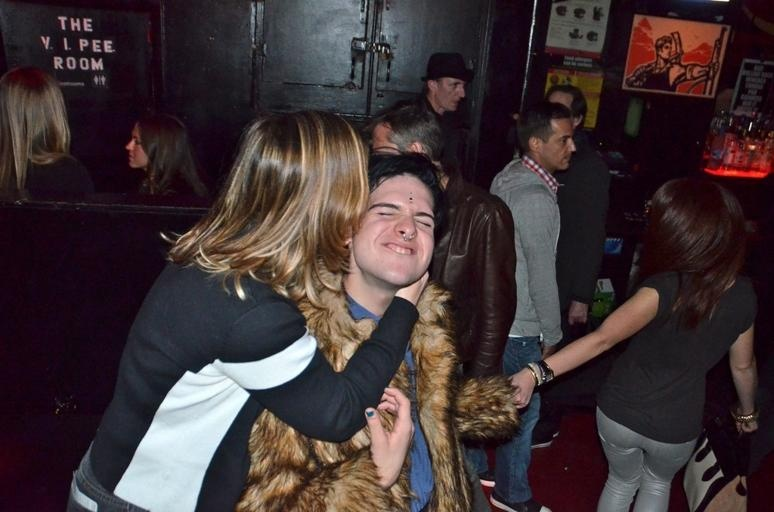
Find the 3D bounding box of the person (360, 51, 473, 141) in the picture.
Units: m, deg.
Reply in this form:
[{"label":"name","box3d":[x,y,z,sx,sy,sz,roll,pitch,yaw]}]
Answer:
[{"label":"person","box3d":[0.542,-1.675,5.783,0.549,0.770,0.443,29,28,25]}]

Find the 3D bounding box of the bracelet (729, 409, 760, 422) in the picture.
[{"label":"bracelet","box3d":[2.282,1.026,3.587,0.093,0.063,0.121,0,-3,13]}]

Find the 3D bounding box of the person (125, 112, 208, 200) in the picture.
[{"label":"person","box3d":[-2.150,-0.970,5.438,0.677,0.726,0.520,2,19,-16]}]
